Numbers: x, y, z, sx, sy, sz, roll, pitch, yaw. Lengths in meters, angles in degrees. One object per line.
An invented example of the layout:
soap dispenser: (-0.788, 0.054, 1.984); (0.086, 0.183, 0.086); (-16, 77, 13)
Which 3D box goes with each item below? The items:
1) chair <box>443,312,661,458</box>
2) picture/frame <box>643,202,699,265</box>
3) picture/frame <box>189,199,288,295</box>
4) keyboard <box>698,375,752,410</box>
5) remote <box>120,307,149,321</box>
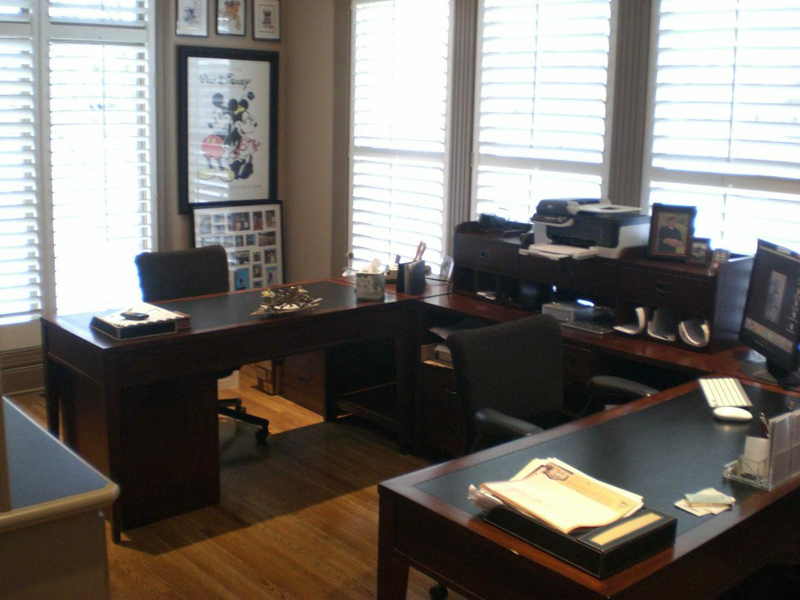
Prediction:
chair: (0.602, 0.299, 2.877); (0.741, 0.776, 0.671); (-9, 8, -32)
picture/frame: (1.383, -0.329, 3.320); (0.307, 0.383, 0.042); (10, 10, 36)
picture/frame: (-1.264, -0.425, 4.997); (0.835, 0.875, 0.067); (-6, 4, -38)
keyboard: (1.281, 0.373, 2.567); (0.108, 0.032, 0.160); (0, 24, 2)
remote: (-1.283, 0.073, 3.146); (0.110, 0.022, 0.219); (-13, 19, -43)
